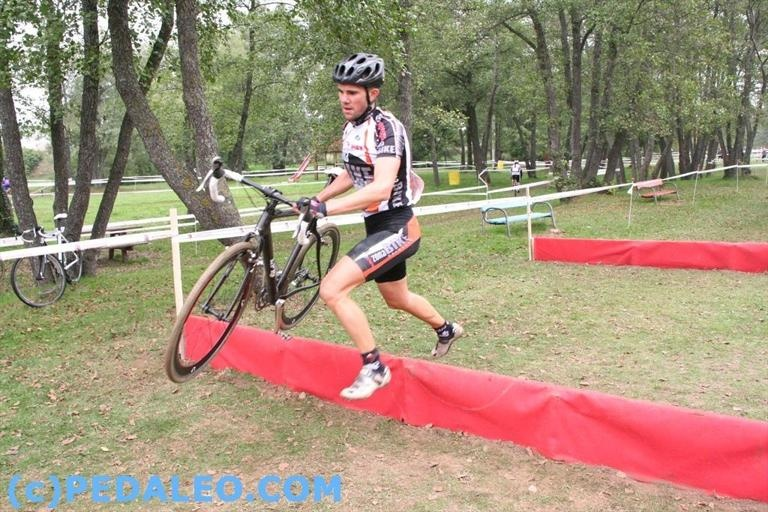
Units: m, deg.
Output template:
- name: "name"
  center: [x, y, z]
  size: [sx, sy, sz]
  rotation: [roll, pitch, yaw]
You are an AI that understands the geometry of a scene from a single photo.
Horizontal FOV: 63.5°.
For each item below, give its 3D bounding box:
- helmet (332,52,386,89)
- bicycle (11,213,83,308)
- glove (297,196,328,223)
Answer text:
- name: "helmet"
  center: [-0.283, -2.203, 7.360]
  size: [0.399, 0.223, 0.528]
  rotation: [15, 26, 29]
- name: "bicycle"
  center: [-7.096, 0.021, 13.051]
  size: [1.352, 1.499, 3.415]
  rotation: [-9, 15, -26]
- name: "glove"
  center: [-0.845, -0.540, 7.302]
  size: [0.222, 0.161, 0.361]
  rotation: [-16, 23, -35]
